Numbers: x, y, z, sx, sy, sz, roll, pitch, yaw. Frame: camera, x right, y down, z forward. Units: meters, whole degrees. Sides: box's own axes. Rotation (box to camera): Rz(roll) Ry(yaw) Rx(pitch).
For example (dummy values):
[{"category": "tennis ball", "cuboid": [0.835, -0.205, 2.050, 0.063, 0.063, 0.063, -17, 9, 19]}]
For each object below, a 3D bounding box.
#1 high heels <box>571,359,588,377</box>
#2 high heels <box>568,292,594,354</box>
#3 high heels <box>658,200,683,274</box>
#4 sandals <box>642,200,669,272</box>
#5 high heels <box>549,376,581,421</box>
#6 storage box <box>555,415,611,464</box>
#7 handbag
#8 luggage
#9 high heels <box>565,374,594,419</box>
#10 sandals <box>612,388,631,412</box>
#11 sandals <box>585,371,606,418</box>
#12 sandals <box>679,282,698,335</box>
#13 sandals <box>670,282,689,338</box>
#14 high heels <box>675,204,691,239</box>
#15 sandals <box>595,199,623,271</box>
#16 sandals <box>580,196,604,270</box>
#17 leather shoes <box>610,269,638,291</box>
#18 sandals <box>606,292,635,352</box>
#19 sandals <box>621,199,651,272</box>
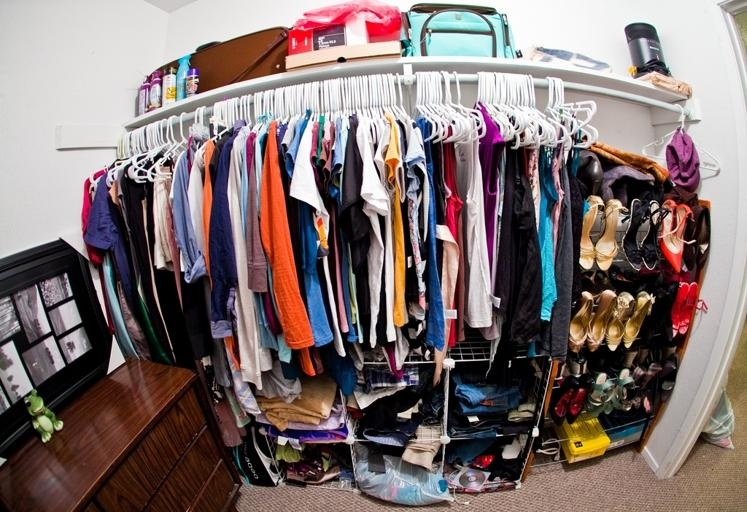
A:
[{"category": "high heels", "cuboid": [1.172, 0.651, 2.765, 0.072, 0.099, 0.106, -1, -2, 43]}, {"category": "high heels", "cuboid": [1.159, 0.382, 2.755, 0.119, 0.388, 0.080, 8, 17, 9]}, {"category": "high heels", "cuboid": [1.652, -0.106, 2.718, 0.146, 0.399, 0.072, -3, 9, 4]}, {"category": "sandals", "cuboid": [1.546, -0.114, 2.663, 0.111, 0.421, 0.061, 0, 13, 11]}, {"category": "high heels", "cuboid": [1.111, 0.838, 2.880, 0.109, 0.313, 0.116, 19, 12, 12]}, {"category": "storage box", "cuboid": [1.270, 1.116, 2.982, 0.303, 0.121, 0.298, -15, 44, 6]}, {"category": "handbag", "cuboid": [0.468, -1.284, 2.755, 0.450, 0.304, 0.109, -1, -8, 0]}, {"category": "luggage", "cuboid": [-0.806, -1.193, 2.895, 0.546, 0.127, 0.529, -21, 5, -43]}, {"category": "high heels", "cuboid": [1.208, 0.853, 2.879, 0.099, 0.294, 0.094, 16, 17, 11]}, {"category": "sandals", "cuboid": [1.455, 0.851, 2.843, 0.156, 0.300, 0.041, -9, 50, 25]}, {"category": "sandals", "cuboid": [1.335, 0.844, 2.839, 0.098, 0.278, 0.071, 6, 22, 25]}, {"category": "sandals", "cuboid": [1.828, 0.308, 2.837, 0.094, 0.319, 0.049, 3, 5, -5]}, {"category": "sandals", "cuboid": [1.755, 0.310, 2.789, 0.088, 0.333, 0.049, 0, 6, -3]}, {"category": "high heels", "cuboid": [1.709, -0.199, 2.705, 0.078, 0.221, 0.085, 1, 13, 24]}, {"category": "sandals", "cuboid": [1.286, -0.100, 2.644, 0.122, 0.420, 0.058, 6, 21, 20]}, {"category": "sandals", "cuboid": [1.183, -0.117, 2.643, 0.119, 0.450, 0.075, 4, 19, 16]}, {"category": "leather shoes", "cuboid": [1.441, 0.145, 2.790, 0.157, 0.126, 0.057, 9, 21, 29]}, {"category": "sandals", "cuboid": [1.384, 0.383, 2.750, 0.104, 0.381, 0.055, 9, 26, 0]}, {"category": "sandals", "cuboid": [1.465, -0.119, 2.679, 0.117, 0.380, 0.167, 17, 26, 42]}]
